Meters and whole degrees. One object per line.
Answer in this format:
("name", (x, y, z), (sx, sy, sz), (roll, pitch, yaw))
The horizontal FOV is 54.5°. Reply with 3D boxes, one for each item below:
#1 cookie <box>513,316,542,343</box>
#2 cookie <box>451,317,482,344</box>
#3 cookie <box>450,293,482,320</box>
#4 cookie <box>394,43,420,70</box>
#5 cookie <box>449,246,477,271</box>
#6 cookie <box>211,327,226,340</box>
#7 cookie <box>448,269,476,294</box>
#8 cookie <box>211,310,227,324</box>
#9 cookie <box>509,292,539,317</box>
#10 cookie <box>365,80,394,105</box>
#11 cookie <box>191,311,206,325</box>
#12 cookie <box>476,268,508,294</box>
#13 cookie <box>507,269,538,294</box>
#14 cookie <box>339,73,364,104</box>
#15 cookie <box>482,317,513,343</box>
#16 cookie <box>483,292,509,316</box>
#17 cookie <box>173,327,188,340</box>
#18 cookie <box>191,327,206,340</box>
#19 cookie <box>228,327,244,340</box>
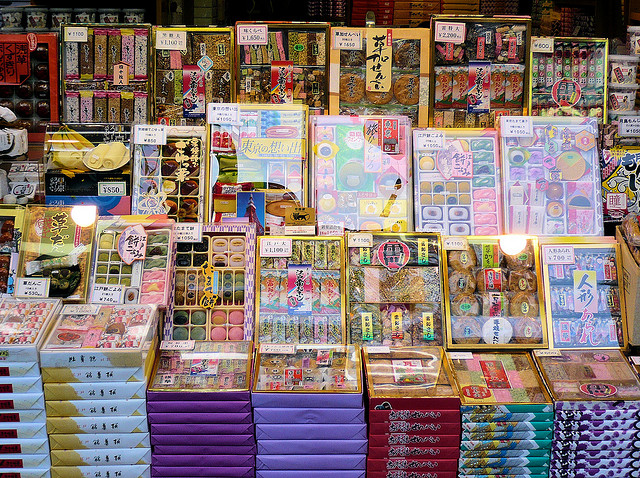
("cookie", (1.408, 0.625, 4.271), (0.201, 0.039, 0.175), (3, 60, -5))
("cookie", (0.992, 0.631, 4.259), (0.203, 0.038, 0.172), (4, 60, -5))
("cookie", (0.999, 0.464, 4.307), (0.216, 0.052, 0.169), (2, 60, -6))
("cookie", (0.693, -1.481, 5.034), (0.198, 0.111, 0.176), (-1, 61, -7))
("cookie", (0.997, 0.144, 4.385), (0.155, 0.036, 0.152), (-4, 79, -4))
("cookie", (-0.698, 0.646, 4.258), (0.101, 0.030, 0.081), (3, 60, -5))
("cookie", (0.979, 0.295, 4.349), (0.192, 0.056, 0.164), (1, 61, -6))
("cookie", (-0.697, 0.541, 4.293), (0.101, 0.024, 0.090), (-3, 61, -9))
("cookie", (1.399, 0.455, 4.322), (0.206, 0.047, 0.158), (2, 60, -6))
("cookie", (0.473, -1.176, 5.025), (0.231, 0.104, 0.145), (-4, 61, -9))
("cookie", (-0.840, 0.546, 4.289), (0.098, 0.024, 0.091), (0, 61, -7))
("cookie", (1.185, 0.295, 4.298), (0.176, 0.042, 0.168), (4, 80, 0))
("cookie", (1.402, 0.301, 4.361), (0.204, 0.054, 0.158), (2, 60, -6))
("cookie", (0.245, -1.221, 5.036), (0.186, 0.122, 0.214), (0, 61, -7))
("cookie", (1.199, 0.625, 4.216), (0.160, 0.037, 0.157), (1, 77, 0))
("cookie", (1.204, 0.454, 4.314), (0.177, 0.054, 0.158), (3, 60, -5))
("cookie", (-0.956, 0.646, 4.252), (0.096, 0.022, 0.083), (-2, 61, -8))
("cookie", (-0.834, 0.645, 4.257), (0.097, 0.027, 0.082), (-1, 61, -7))
("cookie", (-0.581, 0.645, 4.256), (0.102, 0.024, 0.084), (2, 60, -6))
